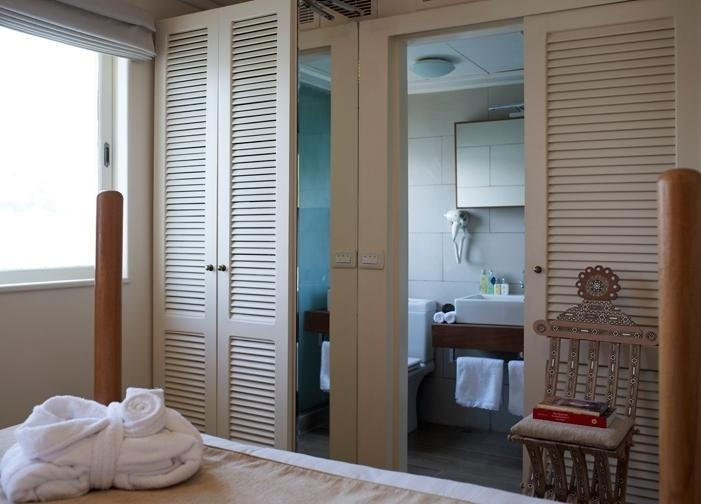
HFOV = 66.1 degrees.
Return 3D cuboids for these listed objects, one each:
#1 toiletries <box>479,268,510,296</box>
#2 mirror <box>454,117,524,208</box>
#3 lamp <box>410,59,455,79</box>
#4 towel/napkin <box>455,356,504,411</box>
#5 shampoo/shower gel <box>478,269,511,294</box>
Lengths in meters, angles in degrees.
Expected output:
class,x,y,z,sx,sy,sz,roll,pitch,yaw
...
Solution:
class,x,y,z,sx,sy,sz,roll,pitch,yaw
toiletries,1.116,0.231,4.117,0.182,0.186,0.066,-2,-13,20
mirror,1.081,-0.680,4.098,0.684,0.802,0.075,2,3,39
lamp,0.606,-1.344,3.907,0.305,0.114,0.228,7,10,4
towel/napkin,0.895,0.894,3.688,0.381,0.417,0.159,0,-6,23
shampoo/shower gel,1.114,0.226,4.120,0.170,0.172,0.062,-3,-14,22
